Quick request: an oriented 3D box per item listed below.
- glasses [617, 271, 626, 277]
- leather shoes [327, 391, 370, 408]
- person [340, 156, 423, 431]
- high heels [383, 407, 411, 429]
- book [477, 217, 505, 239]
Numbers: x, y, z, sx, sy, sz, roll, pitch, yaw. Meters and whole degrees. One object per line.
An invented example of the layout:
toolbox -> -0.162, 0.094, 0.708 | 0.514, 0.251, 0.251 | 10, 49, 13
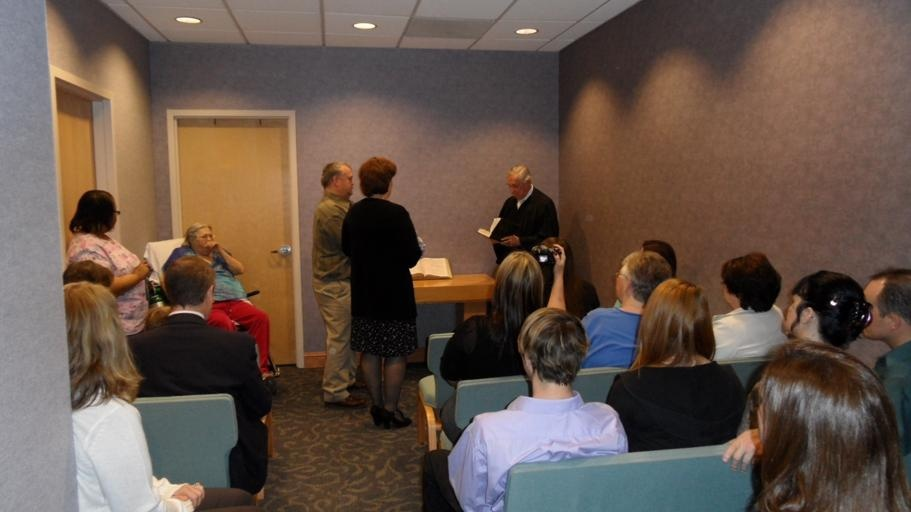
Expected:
glasses -> 1.059, 0.118, 4.322 | 0.059, 0.018, 0.060 | 3, 5, 18
leather shoes -> -0.944, 1.247, 5.988 | 0.392, 0.160, 0.128 | -3, 0, -7
person -> -0.617, 0.306, 5.529 | 0.645, 2.187, 0.292 | 0, 2, -2
high heels -> -0.486, 1.341, 5.589 | 0.232, 0.109, 0.120 | -2, -1, 2
book -> 0.369, -0.257, 6.837 | 0.107, 0.234, 0.243 | 16, -5, -32
